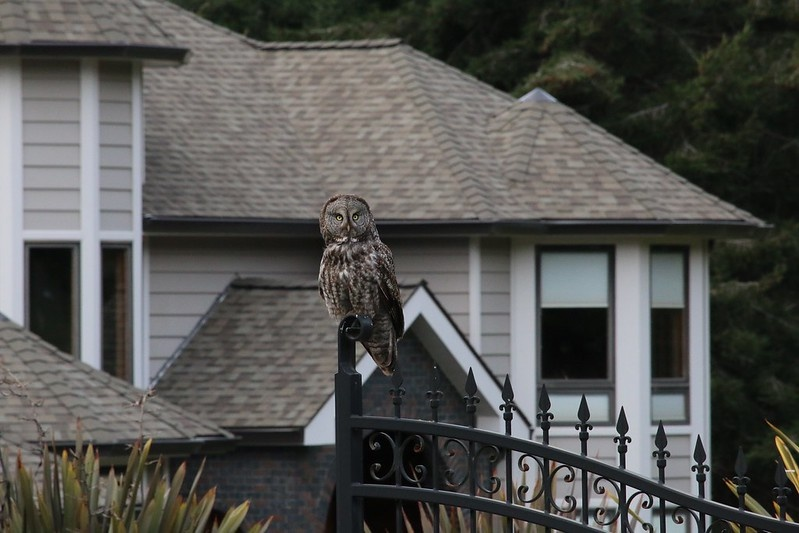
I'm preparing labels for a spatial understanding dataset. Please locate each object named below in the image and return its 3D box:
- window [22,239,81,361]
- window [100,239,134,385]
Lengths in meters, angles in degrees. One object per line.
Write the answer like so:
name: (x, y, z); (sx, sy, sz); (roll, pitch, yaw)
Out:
window: (-6.408, 0.662, 49.061); (1.053, 2.087, 0.428); (3, -7, -8)
window: (-5.240, 0.916, 49.305); (0.661, 2.551, 0.339); (3, -7, -7)
